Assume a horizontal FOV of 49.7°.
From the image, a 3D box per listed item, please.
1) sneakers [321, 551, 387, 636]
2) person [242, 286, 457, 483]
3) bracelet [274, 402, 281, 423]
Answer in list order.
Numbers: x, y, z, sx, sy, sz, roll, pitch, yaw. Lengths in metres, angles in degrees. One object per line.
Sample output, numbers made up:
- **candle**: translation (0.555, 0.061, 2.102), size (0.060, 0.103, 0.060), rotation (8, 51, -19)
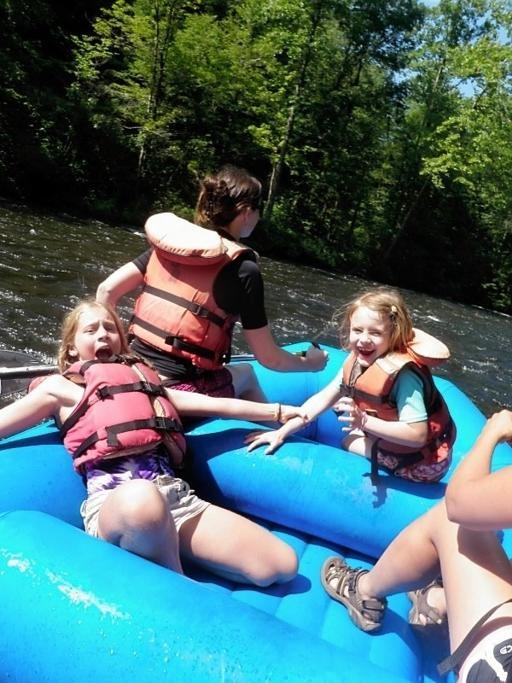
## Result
- **sneakers**: translation (0.253, 0.701, 1.572), size (0.105, 0.099, 0.223), rotation (3, 27, -31)
- **person**: translation (0.190, 0.108, 2.123), size (0.837, 0.823, 0.573), rotation (-4, 11, 0)
- **bracelet**: translation (0.076, 0.259, 1.966), size (0.015, 0.045, 0.036), rotation (7, -2, -22)
